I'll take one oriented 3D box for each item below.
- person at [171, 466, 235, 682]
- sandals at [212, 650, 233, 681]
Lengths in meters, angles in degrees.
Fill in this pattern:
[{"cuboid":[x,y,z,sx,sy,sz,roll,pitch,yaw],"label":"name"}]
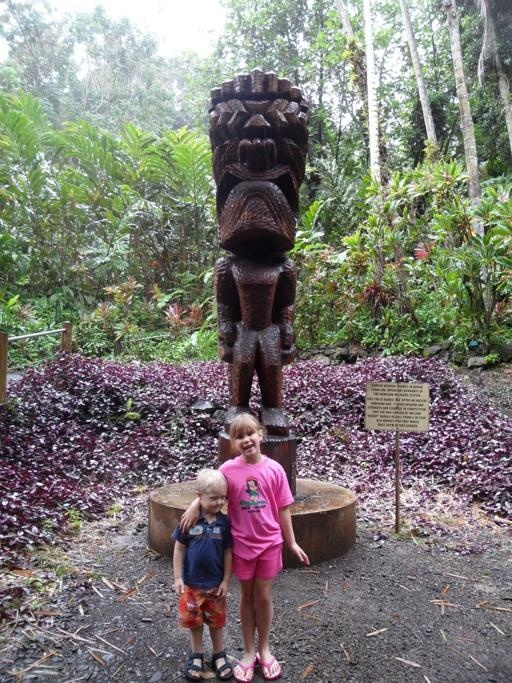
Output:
[{"cuboid":[-0.185,0.795,1.863,0.205,0.711,0.194,1,3,-9],"label":"person"},{"cuboid":[-0.111,1.102,1.806,0.041,0.041,0.114,2,-17,-15],"label":"sandals"}]
